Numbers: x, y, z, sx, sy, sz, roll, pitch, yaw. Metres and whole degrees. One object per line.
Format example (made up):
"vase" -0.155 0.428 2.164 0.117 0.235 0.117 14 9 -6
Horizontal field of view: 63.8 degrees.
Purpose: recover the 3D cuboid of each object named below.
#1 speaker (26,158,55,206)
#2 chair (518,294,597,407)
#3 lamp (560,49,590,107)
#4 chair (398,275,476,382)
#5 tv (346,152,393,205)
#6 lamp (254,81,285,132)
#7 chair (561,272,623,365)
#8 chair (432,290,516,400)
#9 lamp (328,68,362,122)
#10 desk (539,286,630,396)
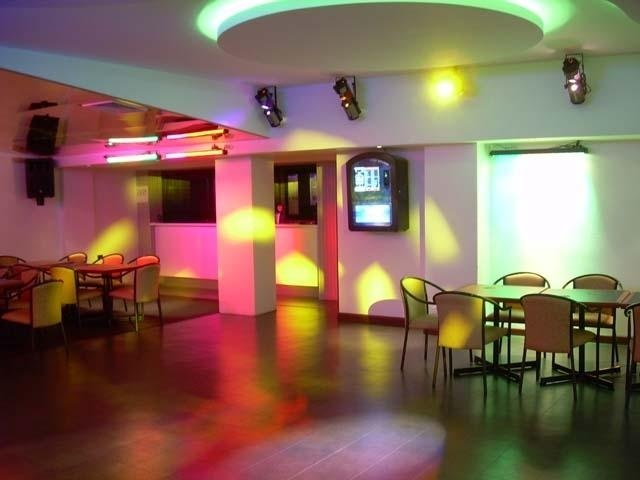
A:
"speaker" -6.081 -1.348 10.998 0.667 0.824 0.217 0 6 11
"chair" 2.586 1.072 5.672 0.630 1.109 0.729 2 10 36
"lamp" 3.404 -2.163 6.801 0.316 0.644 0.513 2 7 27
"chair" 1.429 1.041 6.534 0.753 1.121 0.764 -4 1 -32
"tv" 0.794 -0.900 8.394 0.794 0.967 0.342 0 -13 -2
"lamp" -0.851 -2.222 8.466 0.322 0.653 0.494 2 7 28
"chair" 3.433 0.974 6.504 0.752 1.173 0.723 3 -8 27
"chair" 1.690 1.080 5.938 0.681 1.177 0.707 1 10 29
"lamp" 0.392 -2.234 7.964 0.368 0.671 0.576 1 6 20
"desk" 3.111 1.034 5.924 1.053 1.082 1.091 3 7 37
